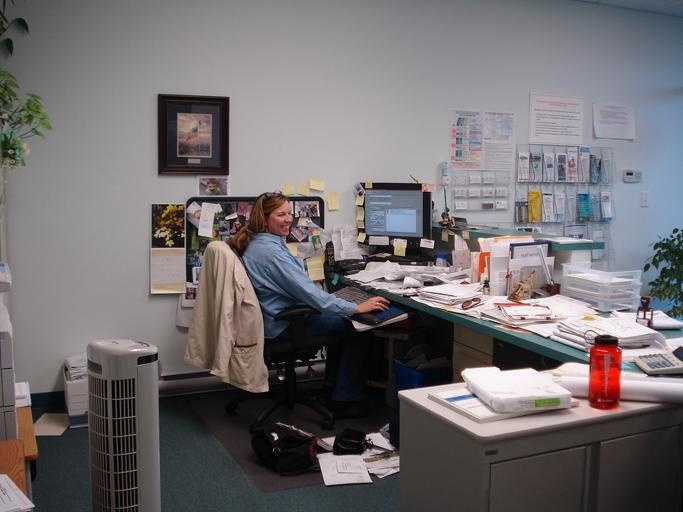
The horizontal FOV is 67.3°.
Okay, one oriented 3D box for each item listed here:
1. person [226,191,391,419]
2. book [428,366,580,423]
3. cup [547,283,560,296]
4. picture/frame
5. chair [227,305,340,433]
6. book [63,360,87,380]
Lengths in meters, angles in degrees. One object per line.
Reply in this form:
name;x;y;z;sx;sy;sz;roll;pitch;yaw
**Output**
person;-0.126;0.257;3.965;1.299;1.860;1.089;-6;7;-18
book;0.531;0.442;1.631;0.221;0.056;0.236;-3;5;-18
cup;1.164;0.182;2.812;0.054;0.062;0.064;1;-3;3
picture/frame;-1.049;-0.853;3.567;0.547;0.636;0.046;-1;3;-12
chair;-0.372;0.622;3.454;0.695;0.967;0.769;1;-3;-19
book;-1.697;0.718;3.285;0.159;0.055;0.158;-4;20;-35
